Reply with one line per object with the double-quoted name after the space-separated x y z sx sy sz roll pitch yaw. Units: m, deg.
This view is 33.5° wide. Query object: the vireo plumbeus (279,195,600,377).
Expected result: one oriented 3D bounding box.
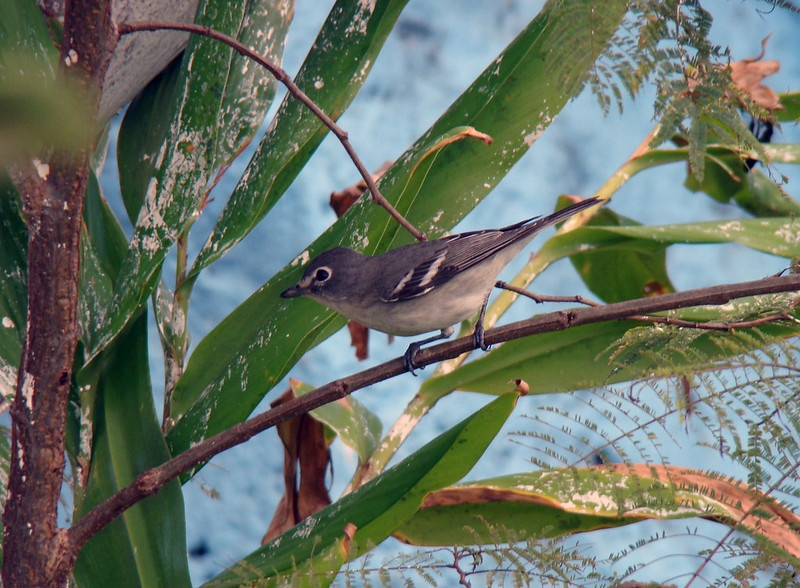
0.065 -0.081 3.115 0.680 0.389 0.140 9 -1 21 "vireo plumbeus"
